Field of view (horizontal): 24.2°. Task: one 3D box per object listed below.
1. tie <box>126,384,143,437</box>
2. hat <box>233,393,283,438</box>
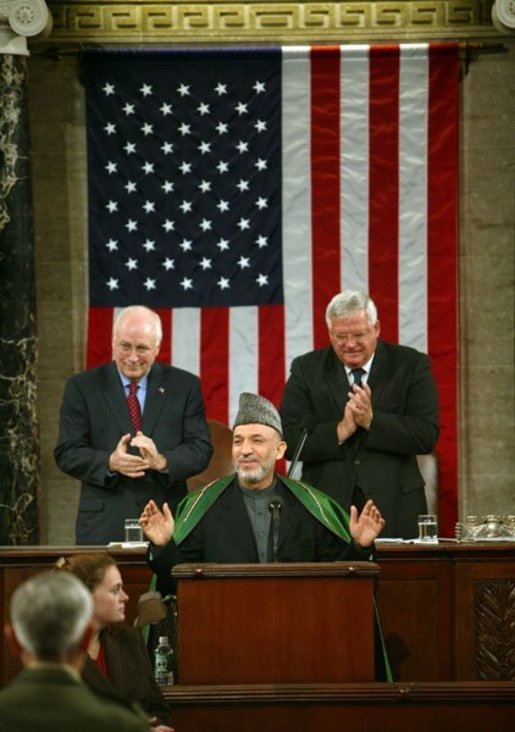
[{"bbox_3d":[-0.673,0.228,6.564,0.084,0.306,0.084,-6,-21,-5],"label":"tie"},{"bbox_3d":[0.014,0.231,5.515,0.173,0.133,0.235,-8,-25,25],"label":"hat"}]
